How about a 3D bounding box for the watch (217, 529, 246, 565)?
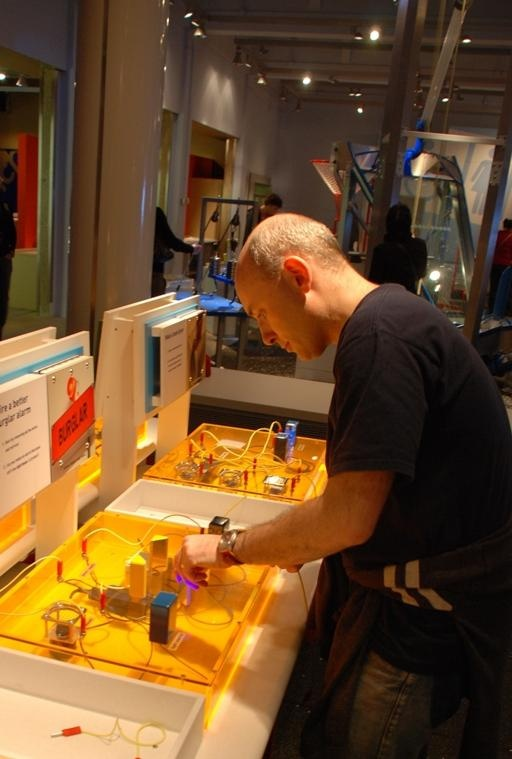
[{"bbox_3d":[-0.046,0.283,0.943,0.038,0.061,0.060,1,8,11],"label":"watch"}]
